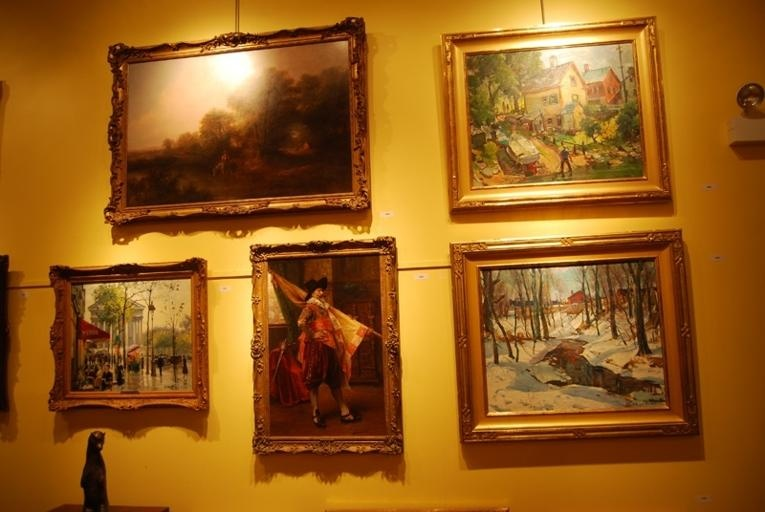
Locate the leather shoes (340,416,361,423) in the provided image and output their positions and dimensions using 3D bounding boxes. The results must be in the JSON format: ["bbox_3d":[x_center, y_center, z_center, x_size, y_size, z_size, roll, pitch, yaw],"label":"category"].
[{"bbox_3d":[-0.419,2.116,9.334,0.193,0.084,0.100,-5,-6,14],"label":"leather shoes"}]

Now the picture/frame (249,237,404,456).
[{"bbox_3d":[-0.671,1.291,9.408,2.535,3.607,0.282,-1,-5,4],"label":"picture/frame"}]

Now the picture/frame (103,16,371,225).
[{"bbox_3d":[-1.850,-1.736,9.743,2.592,1.932,0.148,-2,-5,5],"label":"picture/frame"}]

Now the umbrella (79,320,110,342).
[{"bbox_3d":[-3.900,1.019,9.763,0.259,0.154,0.273,1,1,0],"label":"umbrella"}]

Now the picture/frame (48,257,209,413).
[{"bbox_3d":[-3.334,1.124,9.648,1.891,1.746,0.177,-1,-4,5],"label":"picture/frame"}]
